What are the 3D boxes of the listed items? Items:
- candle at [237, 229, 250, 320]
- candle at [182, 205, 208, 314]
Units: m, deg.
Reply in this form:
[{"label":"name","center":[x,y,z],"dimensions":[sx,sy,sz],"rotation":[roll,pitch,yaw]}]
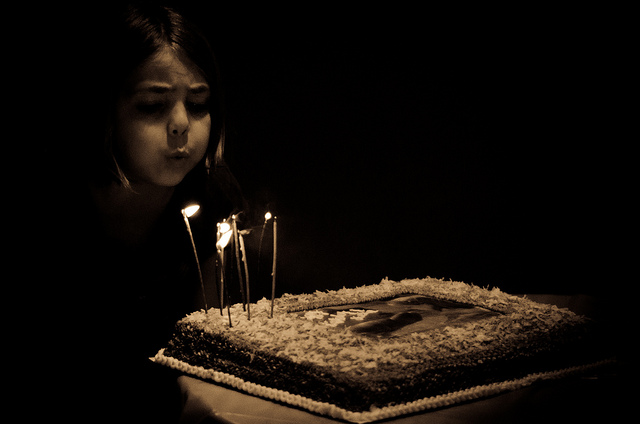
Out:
[{"label":"candle","center":[-0.423,0.356,3.195],"dimensions":[0.060,0.551,0.078],"rotation":[-3,8,11]},{"label":"candle","center":[-0.704,0.267,3.155],"dimensions":[0.079,0.572,0.181],"rotation":[-19,12,-26]}]
